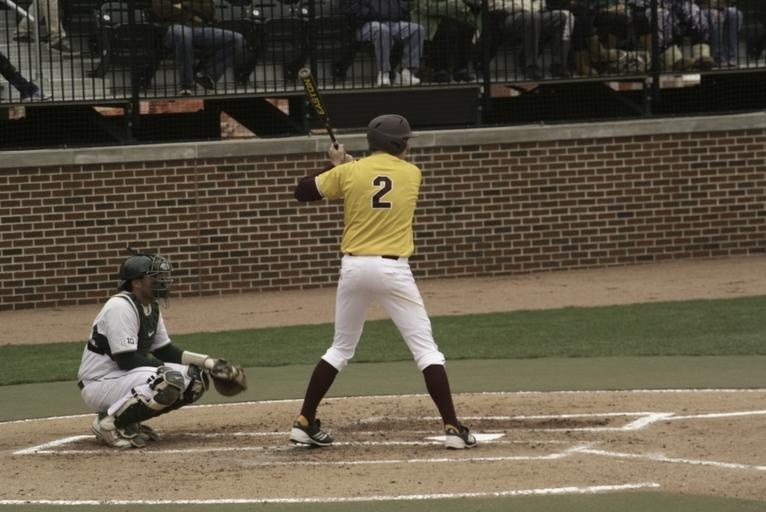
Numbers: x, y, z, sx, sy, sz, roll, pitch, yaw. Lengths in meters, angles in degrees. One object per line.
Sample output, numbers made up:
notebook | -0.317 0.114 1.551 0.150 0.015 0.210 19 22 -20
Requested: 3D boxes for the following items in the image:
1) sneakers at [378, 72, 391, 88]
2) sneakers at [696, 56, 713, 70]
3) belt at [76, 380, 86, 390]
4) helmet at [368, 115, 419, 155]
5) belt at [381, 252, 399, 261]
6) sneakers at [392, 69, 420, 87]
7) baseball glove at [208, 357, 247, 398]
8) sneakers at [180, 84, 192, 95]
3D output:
sneakers | 0.016 -2.957 31.637 0.213 0.210 0.218 -2 1 5
sneakers | 5.452 -3.261 31.792 0.375 0.219 0.262 11 10 15
belt | -4.018 1.646 24.876 0.076 0.111 0.032 -14 13 21
helmet | 0.142 -1.632 24.783 0.632 0.496 0.469 3 8 5
belt | 0.093 -0.012 24.424 0.216 0.069 0.043 -2 8 -16
sneakers | 0.393 -2.996 31.717 0.429 0.305 0.225 -2 14 -2
baseball glove | -2.142 1.494 25.218 0.643 0.327 0.500 -2 15 -1
sneakers | -3.324 -2.769 31.476 0.215 0.158 0.133 -1 8 -5
